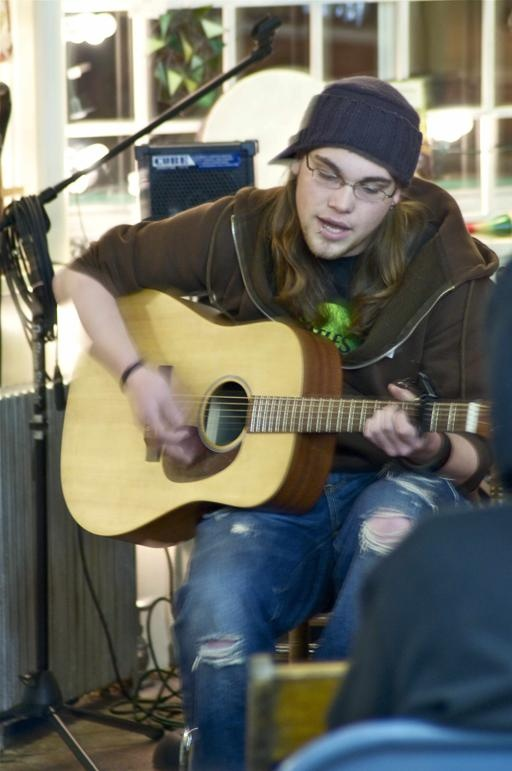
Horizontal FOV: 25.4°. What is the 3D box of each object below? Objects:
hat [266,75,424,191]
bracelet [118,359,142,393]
[{"bbox_3d":[0.194,-0.471,2.051,0.203,0.168,0.255,20,13,14],"label":"hat"},{"bbox_3d":[-0.232,-0.021,2.095,0.063,0.028,0.009,-23,-39,34],"label":"bracelet"}]
